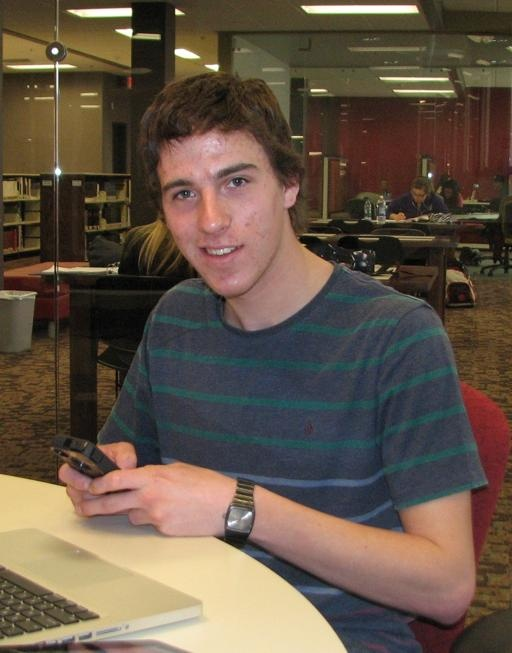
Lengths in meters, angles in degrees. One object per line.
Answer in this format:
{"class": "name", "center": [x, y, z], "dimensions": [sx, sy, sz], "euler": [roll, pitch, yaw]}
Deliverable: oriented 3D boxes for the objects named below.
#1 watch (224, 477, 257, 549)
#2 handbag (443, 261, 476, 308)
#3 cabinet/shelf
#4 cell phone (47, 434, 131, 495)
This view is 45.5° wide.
{"class": "watch", "center": [-0.017, 0.206, 0.685], "dimensions": [0.034, 0.062, 0.074], "euler": [7, 38, 3]}
{"class": "handbag", "center": [1.159, -0.227, 3.499], "dimensions": [0.173, 0.250, 0.107], "euler": [-12, -36, 25]}
{"class": "cabinet/shelf", "center": [-0.910, -0.530, 2.841], "dimensions": [0.472, 0.352, 0.137], "euler": [-1, 11, -9]}
{"class": "cell phone", "center": [-0.211, 0.153, 0.741], "dimensions": [0.085, 0.022, 0.088], "euler": [4, -31, 46]}
